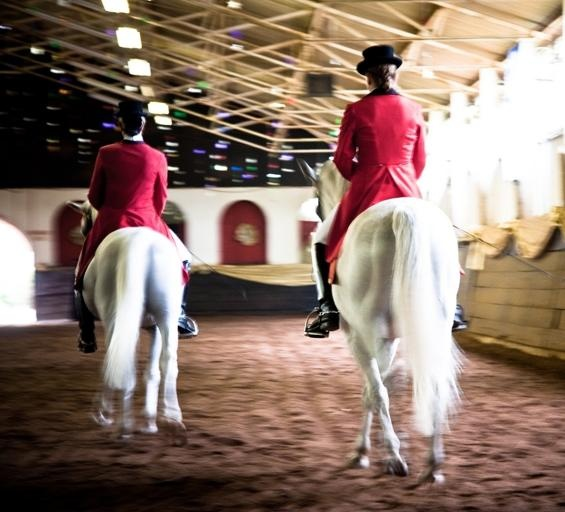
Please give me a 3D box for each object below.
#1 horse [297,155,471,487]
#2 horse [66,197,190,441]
[{"bbox_3d":[0.663,0.453,3.629,0.752,1.668,1.012,2,3,1],"label":"horse"},{"bbox_3d":[-1.104,0.393,4.860,0.739,1.608,2.514,2,-3,-10],"label":"horse"}]
